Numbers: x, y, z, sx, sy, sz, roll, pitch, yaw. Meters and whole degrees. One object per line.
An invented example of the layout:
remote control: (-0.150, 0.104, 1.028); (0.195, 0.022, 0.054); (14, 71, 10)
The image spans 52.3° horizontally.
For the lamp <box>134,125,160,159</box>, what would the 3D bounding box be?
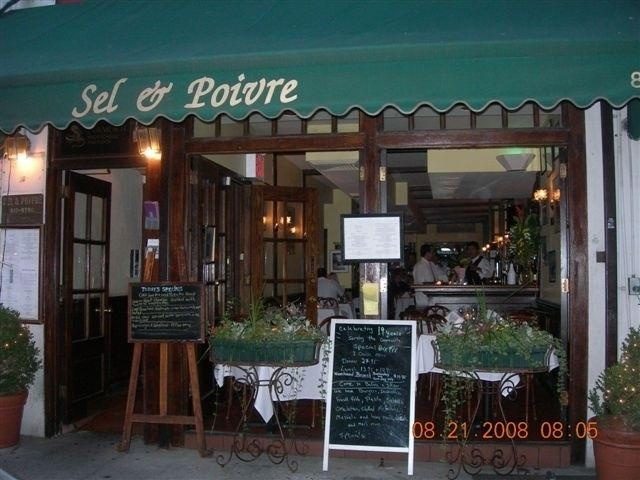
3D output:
lamp: (-1.728, -0.986, 6.541); (0.274, 0.302, 0.163); (5, 13, 14)

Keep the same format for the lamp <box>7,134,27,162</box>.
lamp: (-3.174, -0.979, 6.846); (0.239, 0.286, 0.081); (-1, -5, 12)

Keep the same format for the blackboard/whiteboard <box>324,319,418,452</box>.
blackboard/whiteboard: (0.450, 1.281, 5.683); (1.011, 1.555, 0.078); (1, -13, 4)

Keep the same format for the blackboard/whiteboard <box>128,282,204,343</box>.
blackboard/whiteboard: (-1.410, 0.683, 6.067); (0.490, 0.416, 0.045); (1, -3, 3)

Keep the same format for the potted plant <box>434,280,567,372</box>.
potted plant: (1.500, 0.885, 5.905); (0.942, 0.700, 1.009); (-1, -5, 6)
